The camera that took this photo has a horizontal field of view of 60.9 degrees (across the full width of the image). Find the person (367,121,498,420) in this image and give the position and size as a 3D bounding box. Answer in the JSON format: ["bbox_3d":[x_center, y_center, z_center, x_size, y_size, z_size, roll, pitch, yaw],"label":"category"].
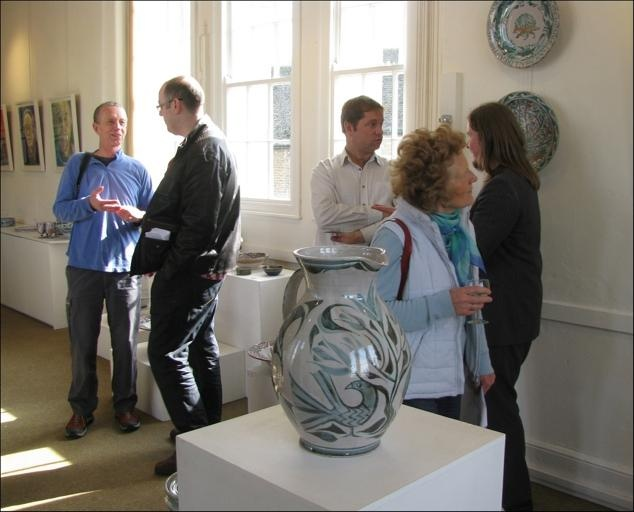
[{"bbox_3d":[0.435,0.113,1.959,0.438,1.132,0.424,0,10,13],"label":"person"}]

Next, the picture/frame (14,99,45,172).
[{"bbox_3d":[-1.155,-0.488,2.168,0.028,0.239,0.188,-5,13,-36],"label":"picture/frame"}]

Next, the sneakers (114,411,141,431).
[{"bbox_3d":[-0.985,0.859,2.799,0.063,0.071,0.144,0,-4,-28],"label":"sneakers"}]

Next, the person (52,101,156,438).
[{"bbox_3d":[-0.986,0.134,2.548,0.440,1.632,0.518,-5,10,-19],"label":"person"}]

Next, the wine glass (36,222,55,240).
[{"bbox_3d":[-1.219,-0.116,2.415,0.041,0.055,0.070,2,2,-2],"label":"wine glass"}]
